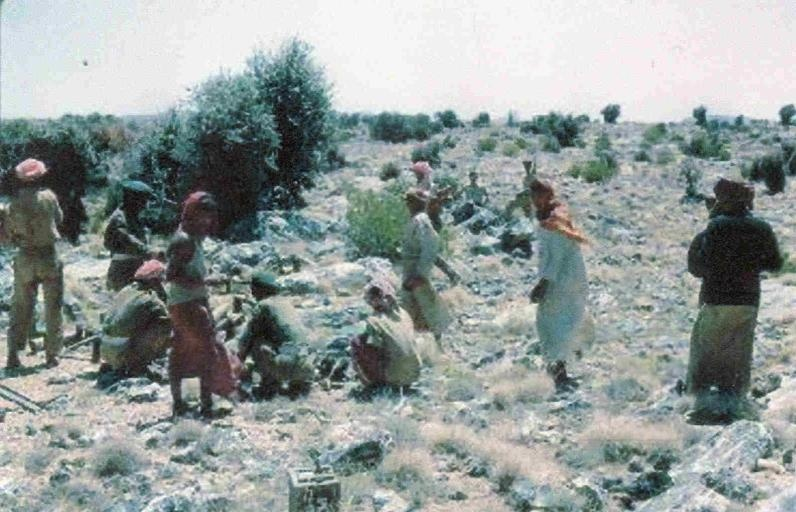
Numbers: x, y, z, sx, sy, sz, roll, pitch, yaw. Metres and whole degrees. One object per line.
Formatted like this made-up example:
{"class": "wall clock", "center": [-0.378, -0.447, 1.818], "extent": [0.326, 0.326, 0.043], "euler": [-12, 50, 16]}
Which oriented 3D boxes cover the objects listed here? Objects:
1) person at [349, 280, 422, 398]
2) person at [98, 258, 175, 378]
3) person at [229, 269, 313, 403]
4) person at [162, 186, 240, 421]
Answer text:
{"class": "person", "center": [-0.172, 1.054, 10.668], "extent": [0.896, 1.476, 0.258], "euler": [-1, 5, -5]}
{"class": "person", "center": [-3.678, 0.936, 11.233], "extent": [0.987, 1.759, 0.715], "euler": [-18, -32, -6]}
{"class": "person", "center": [-1.670, 1.028, 10.747], "extent": [1.017, 1.642, 0.599], "euler": [-1, 5, -8]}
{"class": "person", "center": [-2.513, 0.609, 10.036], "extent": [0.768, 2.819, 0.275], "euler": [-2, 5, -15]}
